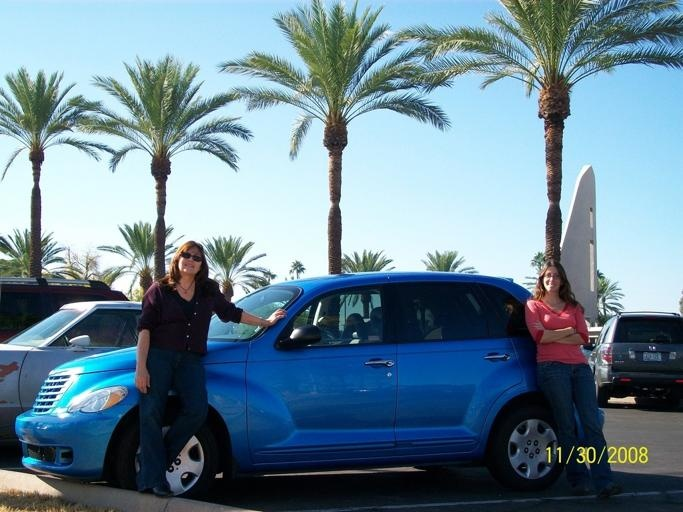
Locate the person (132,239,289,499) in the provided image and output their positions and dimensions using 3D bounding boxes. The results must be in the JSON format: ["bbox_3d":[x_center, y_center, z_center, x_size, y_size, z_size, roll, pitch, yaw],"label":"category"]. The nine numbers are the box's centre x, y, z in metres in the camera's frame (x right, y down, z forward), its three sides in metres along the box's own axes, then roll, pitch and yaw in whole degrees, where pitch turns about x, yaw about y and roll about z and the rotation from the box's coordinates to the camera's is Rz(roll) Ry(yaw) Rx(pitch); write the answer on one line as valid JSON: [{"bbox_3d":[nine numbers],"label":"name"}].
[{"bbox_3d":[-1.425,0.979,5.503,0.879,2.260,0.475,1,-3,-14],"label":"person"}]

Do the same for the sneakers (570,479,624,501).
[{"bbox_3d":[2.628,2.416,6.143,0.349,0.168,0.111,-29,-14,38],"label":"sneakers"}]

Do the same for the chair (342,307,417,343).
[{"bbox_3d":[0.373,0.703,6.123,0.573,0.309,0.331,-1,5,-2],"label":"chair"}]
